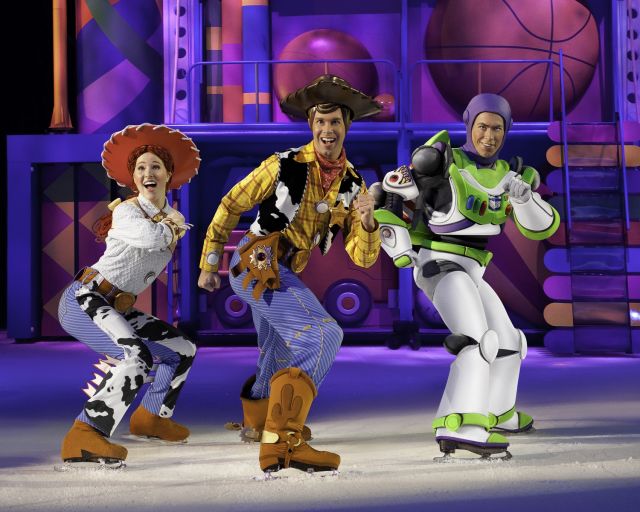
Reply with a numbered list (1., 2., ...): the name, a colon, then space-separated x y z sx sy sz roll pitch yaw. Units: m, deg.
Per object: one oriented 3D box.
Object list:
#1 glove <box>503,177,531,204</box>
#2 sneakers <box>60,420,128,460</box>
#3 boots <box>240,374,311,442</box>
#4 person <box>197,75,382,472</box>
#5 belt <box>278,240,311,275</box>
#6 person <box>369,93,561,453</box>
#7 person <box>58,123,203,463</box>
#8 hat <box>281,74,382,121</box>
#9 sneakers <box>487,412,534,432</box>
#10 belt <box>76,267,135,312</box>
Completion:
1. glove: 1.063 -0.360 4.078 0.110 0.065 0.151 40 15 28
2. sneakers: -1.126 0.935 3.801 0.342 0.178 0.172 0 -14 12
3. boots: -0.163 0.873 4.200 0.311 0.444 0.499 10 -9 3
4. person: -0.121 0.054 3.895 0.976 1.979 0.628 -2 4 -13
5. belt: -0.144 0.002 4.029 0.200 0.158 0.143 12 10 -18
6. person: 0.839 0.077 4.090 0.938 1.928 0.609 -2 4 -24
7. person: -1.027 0.171 4.077 0.676 1.773 0.816 -1 4 1
8. hat: 0.017 -0.856 4.073 0.523 0.152 0.493 -9 -8 30
9. sneakers: 1.086 0.943 4.270 0.245 0.088 0.158 -2 3 -25
10. belt: -1.123 0.172 4.001 0.299 0.145 0.220 34 7 -15
